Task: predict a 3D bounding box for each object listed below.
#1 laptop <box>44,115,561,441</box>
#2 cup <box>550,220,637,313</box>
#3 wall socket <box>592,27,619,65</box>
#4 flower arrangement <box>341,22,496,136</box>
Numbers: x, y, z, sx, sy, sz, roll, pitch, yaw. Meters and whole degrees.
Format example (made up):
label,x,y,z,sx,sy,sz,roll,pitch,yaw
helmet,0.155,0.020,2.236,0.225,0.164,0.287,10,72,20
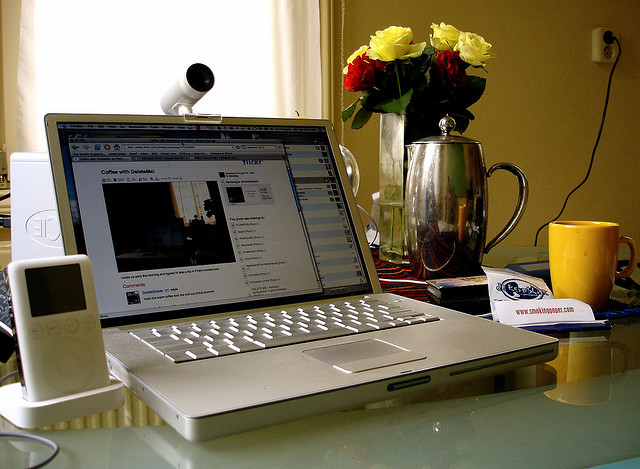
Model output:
label,x,y,z,sx,sy,sz,roll,pitch,yaw
laptop,-0.044,-0.012,0.680,0.533,0.313,0.481,-4,8,-39
cup,0.503,0.049,0.883,0.176,0.164,0.112,-1,2,-1
wall socket,1.943,-1.295,3.321,0.216,0.237,0.057,-4,14,-23
flower arrangement,0.224,-0.368,1.153,0.309,0.298,0.265,1,-12,1
